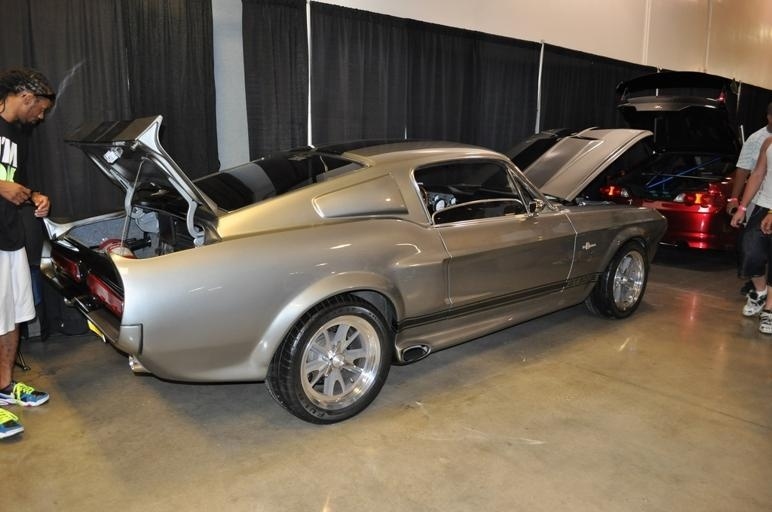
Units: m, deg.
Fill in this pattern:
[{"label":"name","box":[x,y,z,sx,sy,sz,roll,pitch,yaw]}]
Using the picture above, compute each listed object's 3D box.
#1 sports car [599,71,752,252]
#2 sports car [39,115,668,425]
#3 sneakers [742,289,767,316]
[{"label":"sports car","box":[5.072,-1.686,7.796,1.883,2.236,3.299,3,23,42]},{"label":"sports car","box":[0.212,-0.207,4.452,6.168,2.259,1.980,-10,19,-27]},{"label":"sneakers","box":[4.392,0.544,5.339,0.446,0.192,0.146,-20,16,-26]}]
